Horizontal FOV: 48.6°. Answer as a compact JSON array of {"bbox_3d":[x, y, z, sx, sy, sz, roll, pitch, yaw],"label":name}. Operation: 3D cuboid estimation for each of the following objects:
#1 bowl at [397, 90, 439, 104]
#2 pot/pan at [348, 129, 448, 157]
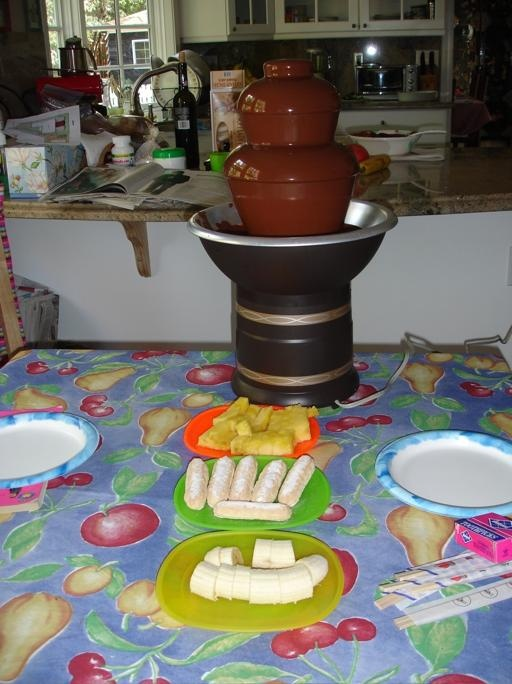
[{"bbox_3d":[1.266,-1.944,4.495,0.287,0.095,0.265,-2,21,1],"label":"bowl"},{"bbox_3d":[0.516,-0.797,2.284,0.282,0.101,0.527,1,21,8],"label":"pot/pan"}]
